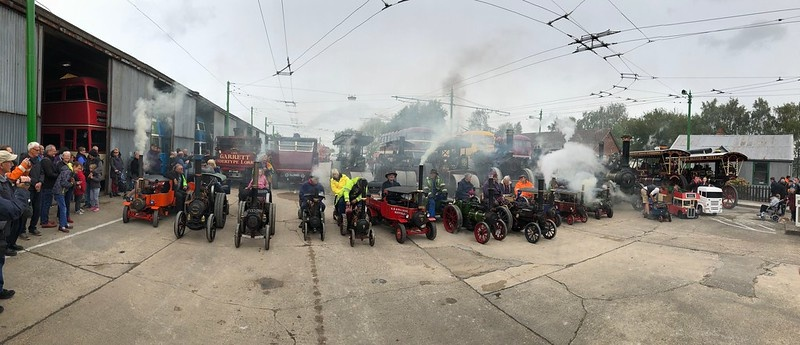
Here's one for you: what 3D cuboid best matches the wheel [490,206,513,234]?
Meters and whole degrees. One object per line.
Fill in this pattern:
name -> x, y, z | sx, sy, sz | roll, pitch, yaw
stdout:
wheel -> 5.180, 2.265, 21.006 | 1.391, 1.094, 1.258 | -3, 5, -9

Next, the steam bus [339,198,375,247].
steam bus -> -2.070, 2.408, 20.547 | 1.524, 1.353, 2.579 | 0, 3, -13

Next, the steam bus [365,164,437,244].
steam bus -> -0.303, 1.514, 21.948 | 2.527, 3.190, 5.944 | -1, 4, -25

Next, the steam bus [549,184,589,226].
steam bus -> 9.432, 1.979, 23.620 | 1.252, 1.207, 2.084 | -5, 11, -44

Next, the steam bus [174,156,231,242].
steam bus -> -10.300, 1.118, 21.296 | 2.690, 3.140, 6.297 | 2, 9, -16

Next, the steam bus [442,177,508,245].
steam bus -> 4.290, 1.900, 21.306 | 2.721, 2.441, 4.116 | -3, 7, -31

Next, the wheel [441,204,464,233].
wheel -> 2.729, 2.396, 21.263 | 0.672, 1.456, 1.591 | 4, 4, -28

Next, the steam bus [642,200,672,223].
steam bus -> 15.421, 2.330, 24.729 | 1.036, 0.737, 1.644 | 0, -1, 0

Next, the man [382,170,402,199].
man -> -0.617, 0.557, 21.182 | 1.689, 1.539, 1.151 | -2, 2, -10

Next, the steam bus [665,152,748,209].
steam bus -> 22.113, 0.362, 30.075 | 2.447, 3.418, 6.614 | -21, 3, -15

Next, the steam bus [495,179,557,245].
steam bus -> 6.739, 2.041, 21.817 | 2.739, 2.356, 4.300 | -5, 4, -7
